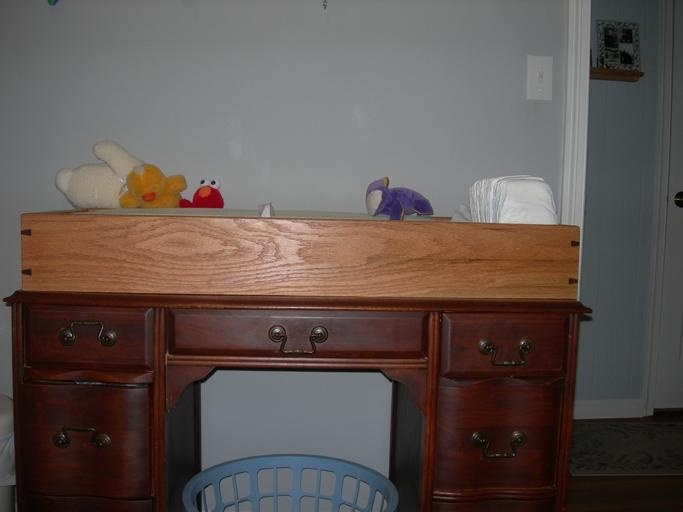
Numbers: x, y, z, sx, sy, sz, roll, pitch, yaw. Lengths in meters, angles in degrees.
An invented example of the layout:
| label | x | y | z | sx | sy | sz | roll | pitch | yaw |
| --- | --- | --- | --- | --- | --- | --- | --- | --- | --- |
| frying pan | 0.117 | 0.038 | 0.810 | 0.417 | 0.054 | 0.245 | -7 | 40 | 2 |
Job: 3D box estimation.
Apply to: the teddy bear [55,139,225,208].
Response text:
| label | x | y | z | sx | sy | sz | roll | pitch | yaw |
| --- | --- | --- | --- | --- | --- | --- | --- | --- | --- |
| teddy bear | -0.681 | -0.275 | 2.130 | 0.434 | 0.217 | 0.255 | 1 | 8 | 8 |

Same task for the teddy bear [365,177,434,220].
| label | x | y | z | sx | sy | sz | roll | pitch | yaw |
| --- | --- | --- | --- | --- | --- | --- | --- | --- | --- |
| teddy bear | 0.197 | -0.179 | 2.115 | 0.200 | 0.116 | 0.137 | 5 | 0 | 1 |
